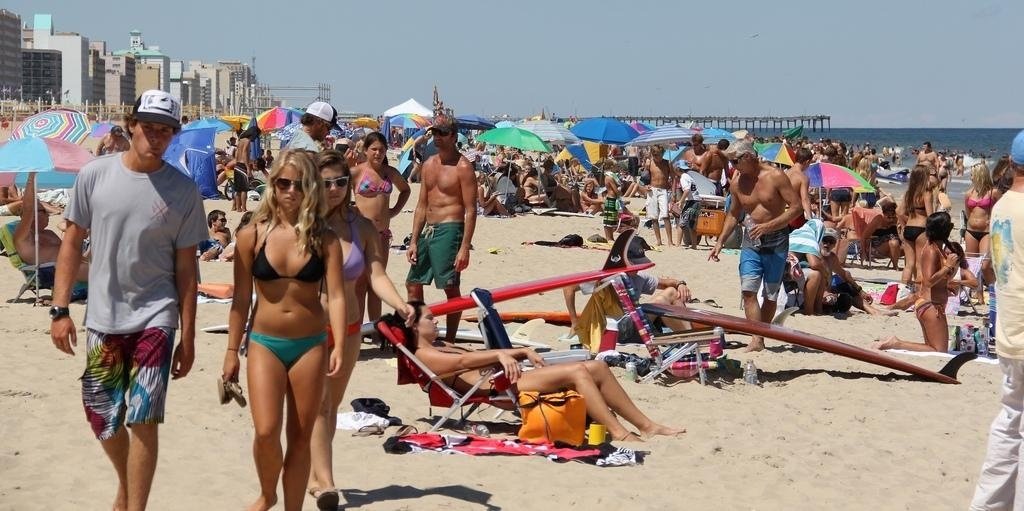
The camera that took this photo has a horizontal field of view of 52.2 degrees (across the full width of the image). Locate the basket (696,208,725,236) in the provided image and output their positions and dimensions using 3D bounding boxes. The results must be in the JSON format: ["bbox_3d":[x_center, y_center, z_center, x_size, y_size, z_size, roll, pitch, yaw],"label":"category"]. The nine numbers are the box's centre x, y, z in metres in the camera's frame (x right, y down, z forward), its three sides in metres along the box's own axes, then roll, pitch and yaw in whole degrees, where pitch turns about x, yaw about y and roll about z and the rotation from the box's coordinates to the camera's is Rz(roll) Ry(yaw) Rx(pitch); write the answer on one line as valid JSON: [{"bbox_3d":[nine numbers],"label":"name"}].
[{"bbox_3d":[4.059,-0.682,21.365,0.711,0.636,0.504,1,-6,25],"label":"basket"}]

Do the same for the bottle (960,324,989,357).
[{"bbox_3d":[6.810,1.266,15.408,0.414,0.655,0.385,1,7,0],"label":"bottle"}]

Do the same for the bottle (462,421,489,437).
[{"bbox_3d":[-0.439,2.192,13.259,0.275,0.094,0.144,6,-6,45],"label":"bottle"}]

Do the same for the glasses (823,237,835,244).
[{"bbox_3d":[5.162,-0.273,17.060,0.129,0.039,0.119,7,-8,15],"label":"glasses"}]

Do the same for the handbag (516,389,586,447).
[{"bbox_3d":[0.514,1.959,13.154,0.925,0.609,0.647,0,-6,2],"label":"handbag"}]

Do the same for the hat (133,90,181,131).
[{"bbox_3d":[-3.789,-1.563,11.166,0.488,0.396,0.298,0,10,-12],"label":"hat"}]

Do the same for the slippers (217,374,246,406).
[{"bbox_3d":[-3.087,1.480,11.309,0.362,0.125,0.262,29,22,-4],"label":"slippers"}]

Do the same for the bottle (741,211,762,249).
[{"bbox_3d":[3.600,-0.375,15.517,0.203,0.500,0.383,-2,11,-41],"label":"bottle"}]

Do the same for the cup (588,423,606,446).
[{"bbox_3d":[1.041,2.198,12.916,0.263,0.265,0.249,0,-1,0],"label":"cup"}]
